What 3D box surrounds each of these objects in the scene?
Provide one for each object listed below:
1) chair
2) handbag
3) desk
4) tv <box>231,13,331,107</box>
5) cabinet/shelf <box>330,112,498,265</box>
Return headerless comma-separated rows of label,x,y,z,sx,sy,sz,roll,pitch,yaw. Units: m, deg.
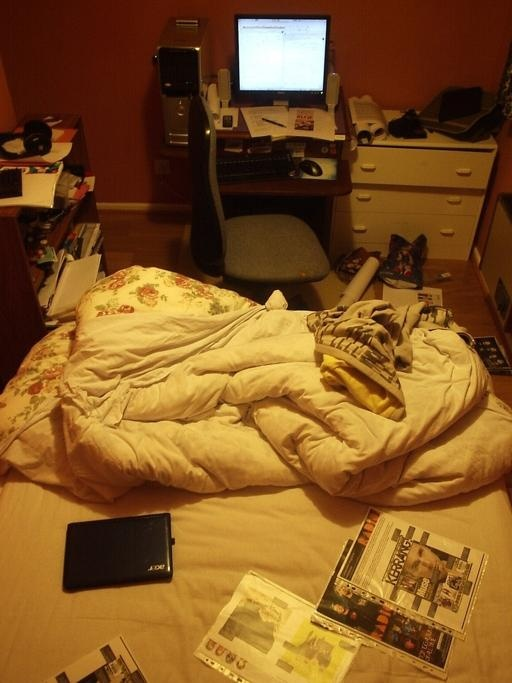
chair,-0.022,-0.607,2.168,0.503,0.664,0.532,-5,15,-14
handbag,1.062,-1.174,2.684,0.407,0.224,0.300,9,33,15
desk,0.130,-0.784,2.729,0.628,0.675,0.703,0,36,0
tv,0.133,-1.365,2.510,0.436,0.468,0.165,2,47,0
cabinet/shelf,0.765,-0.773,3.192,1.007,1.062,0.662,1,48,4
